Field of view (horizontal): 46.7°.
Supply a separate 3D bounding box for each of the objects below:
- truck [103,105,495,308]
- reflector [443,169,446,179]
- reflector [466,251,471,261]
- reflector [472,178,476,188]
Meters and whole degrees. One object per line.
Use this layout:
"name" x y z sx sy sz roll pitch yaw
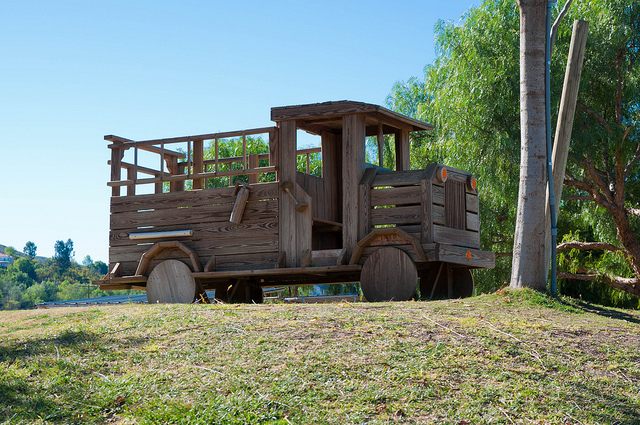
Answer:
"truck" -0.263 0.192 16.901 7.535 4.046 4.432 -5 -5 21
"reflector" 2.402 -0.755 14.465 0.024 0.185 0.139 -4 -5 25
"reflector" 2.907 0.847 14.663 0.034 0.141 0.113 2 1 40
"reflector" 3.128 -0.606 15.191 0.046 0.194 0.254 -4 -5 18
